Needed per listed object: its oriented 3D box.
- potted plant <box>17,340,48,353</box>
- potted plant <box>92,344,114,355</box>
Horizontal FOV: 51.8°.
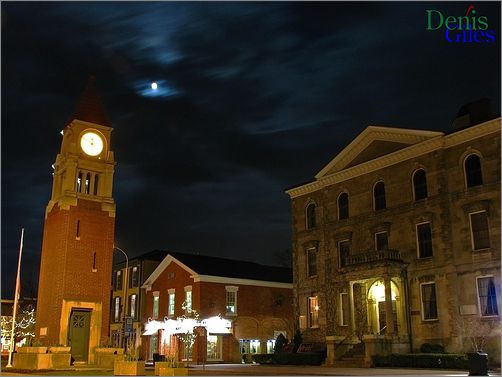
[{"bbox_3d":[-14.525,10.737,34.310,3.290,0.718,0.676,-19,-28,40],"label":"potted plant"},{"bbox_3d":[-10.920,12.072,38.471,1.315,0.737,3.287,9,-23,-22],"label":"potted plant"}]
